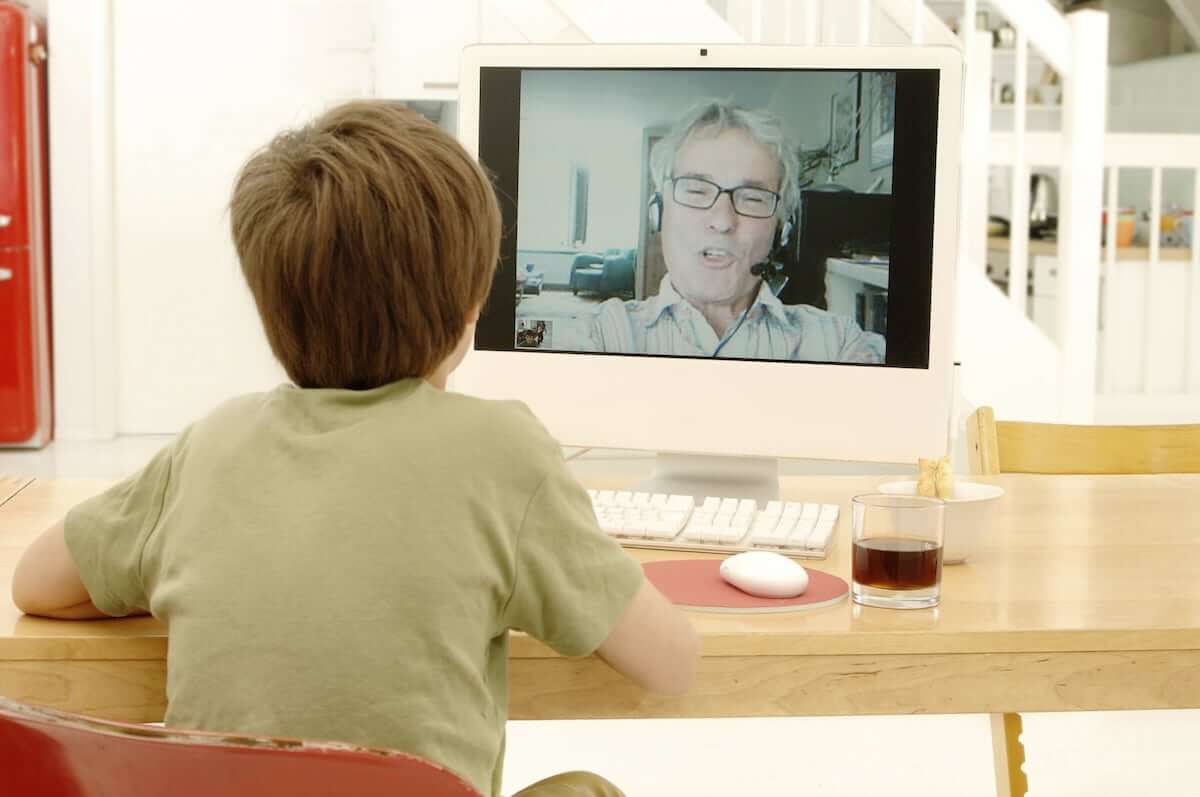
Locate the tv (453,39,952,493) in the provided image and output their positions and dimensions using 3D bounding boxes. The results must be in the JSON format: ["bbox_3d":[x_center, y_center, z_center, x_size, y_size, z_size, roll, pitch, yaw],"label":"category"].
[{"bbox_3d":[0.164,-0.210,1.657,0.688,0.579,0.219,2,4,4],"label":"tv"}]

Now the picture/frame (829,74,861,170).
[{"bbox_3d":[0.358,-0.401,1.674,0.044,0.135,0.041,1,14,10],"label":"picture/frame"}]

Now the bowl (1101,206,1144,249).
[{"bbox_3d":[2.463,-0.803,5.414,0.169,0.168,0.608,5,15,25],"label":"bowl"}]

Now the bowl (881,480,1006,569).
[{"bbox_3d":[0.443,0.145,1.471,0.123,0.078,0.122,0,5,0],"label":"bowl"}]

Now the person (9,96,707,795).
[{"bbox_3d":[-0.267,0.067,1.142,0.722,0.698,0.278,-1,14,5],"label":"person"}]

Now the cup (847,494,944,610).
[{"bbox_3d":[0.339,0.174,1.309,0.119,0.129,0.119,0,-1,0],"label":"cup"}]

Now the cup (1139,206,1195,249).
[{"bbox_3d":[2.683,-0.812,5.467,0.231,0.167,0.355,4,15,24],"label":"cup"}]
